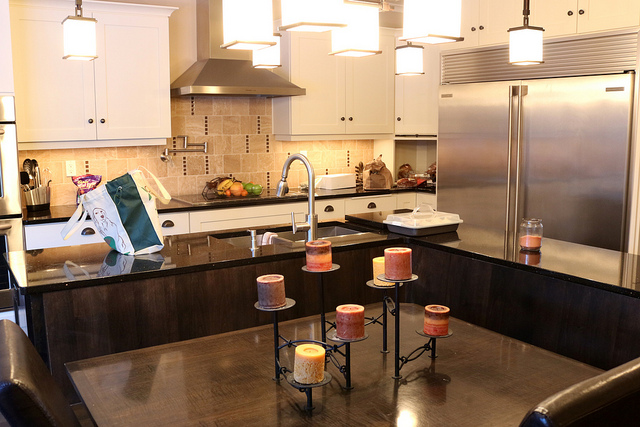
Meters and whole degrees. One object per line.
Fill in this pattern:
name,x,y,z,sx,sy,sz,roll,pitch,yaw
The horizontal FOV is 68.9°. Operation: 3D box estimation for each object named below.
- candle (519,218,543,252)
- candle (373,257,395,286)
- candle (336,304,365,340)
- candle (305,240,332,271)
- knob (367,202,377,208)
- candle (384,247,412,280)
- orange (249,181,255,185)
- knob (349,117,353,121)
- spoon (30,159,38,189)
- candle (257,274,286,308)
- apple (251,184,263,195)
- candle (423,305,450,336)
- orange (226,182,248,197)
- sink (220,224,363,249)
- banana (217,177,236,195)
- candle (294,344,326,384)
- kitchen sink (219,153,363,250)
candle,1.142,0.121,2.444,0.156,0.209,0.154,1,0,24
candle,0.231,0.220,1.781,0.100,0.104,0.098,2,3,29
candle,0.096,0.360,1.514,0.087,0.084,0.084,0,-3,-9
candle,-0.002,0.158,1.748,0.107,0.107,0.102,1,4,19
knob,0.573,-0.090,5.110,0.109,0.065,0.018,-12,17,-31
candle,0.276,0.171,1.606,0.086,0.102,0.103,9,19,42
orange,-0.739,-0.333,5.041,0.071,0.030,0.091,1,2,-8
knob,0.347,-1.073,5.254,0.034,0.029,0.033,3,12,11
spoon,-2.476,-0.362,4.047,0.075,0.204,0.036,-1,12,-6
candle,-0.168,0.265,1.594,0.097,0.097,0.097,-7,9,-20
apple,-0.657,-0.255,4.877,0.118,0.087,0.087,6,-13,-41
candle,0.428,0.389,1.707,0.092,0.095,0.091,6,10,32
orange,-0.855,-0.236,4.758,0.191,0.148,0.152,-6,-35,-13
sink,-0.200,0.161,3.085,0.860,0.121,0.269,-7,14,-13
banana,-0.966,-0.274,4.802,0.172,0.117,0.043,-32,-12,-25
candle,-0.031,0.462,1.425,0.100,0.088,0.101,6,3,41
kitchen sink,-0.144,-0.021,2.773,0.848,0.674,0.421,-10,16,-29
